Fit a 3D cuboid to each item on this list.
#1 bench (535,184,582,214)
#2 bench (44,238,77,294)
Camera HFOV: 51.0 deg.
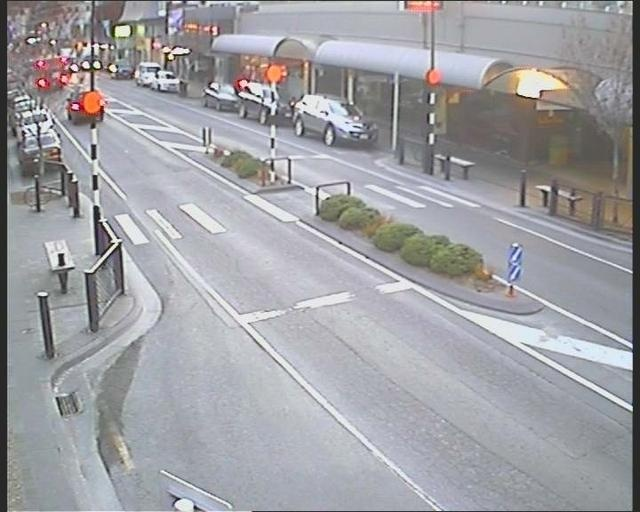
[{"bbox_3d":[7.941,-1.880,22.490,0.375,0.540,1.267,-21,25,-16],"label":"bench"},{"bbox_3d":[-5.549,0.266,14.320,0.316,0.673,0.957,-9,33,-24],"label":"bench"}]
